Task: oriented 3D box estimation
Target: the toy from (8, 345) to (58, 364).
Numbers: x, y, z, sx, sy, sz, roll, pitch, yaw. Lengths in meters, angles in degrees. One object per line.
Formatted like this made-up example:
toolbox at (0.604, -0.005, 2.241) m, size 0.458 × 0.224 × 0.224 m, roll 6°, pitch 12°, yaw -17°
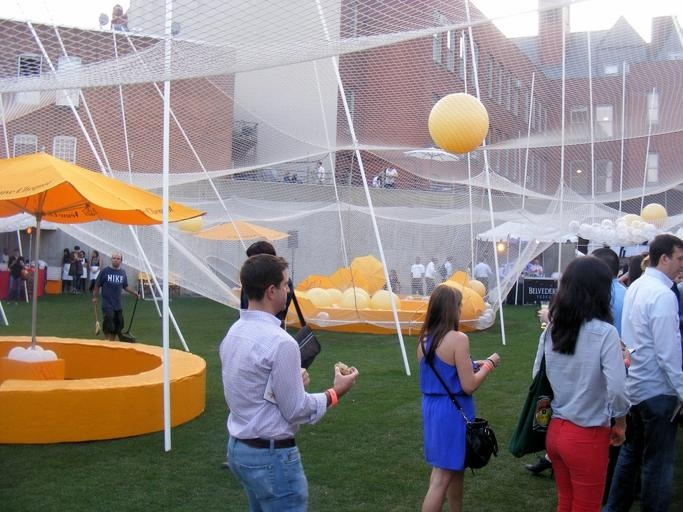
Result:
toy at (-3.807, 1.227, 7.190) m, size 0.336 × 0.142 × 0.367 m, roll 3°, pitch -8°, yaw 35°

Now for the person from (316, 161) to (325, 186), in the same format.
person at (-0.668, -2.689, 18.988) m, size 0.233 × 0.703 × 0.667 m, roll 0°, pitch 3°, yaw 9°

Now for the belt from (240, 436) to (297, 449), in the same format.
belt at (-0.396, 0.972, 3.044) m, size 0.299 × 0.064 × 0.081 m, roll 0°, pitch 3°, yaw -4°

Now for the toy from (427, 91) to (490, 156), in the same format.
toy at (1.614, -1.858, 8.032) m, size 0.785 × 0.826 × 0.415 m, roll 0°, pitch 3°, yaw 8°

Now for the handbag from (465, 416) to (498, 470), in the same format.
handbag at (0.960, 1.296, 4.077) m, size 0.308 × 0.363 × 0.309 m, roll 0°, pitch -1°, yaw 12°

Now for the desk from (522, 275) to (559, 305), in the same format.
desk at (6.421, 1.127, 18.930) m, size 1.292 × 0.898 × 0.696 m, roll -1°, pitch -3°, yaw 4°

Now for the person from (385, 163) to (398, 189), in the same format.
person at (1.699, -2.645, 19.759) m, size 0.377 × 0.699 × 0.841 m, roll 1°, pitch 3°, yaw 18°

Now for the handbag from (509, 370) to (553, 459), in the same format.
handbag at (1.237, 1.016, 3.785) m, size 0.256 × 0.608 × 0.213 m, roll 1°, pitch 3°, yaw 17°

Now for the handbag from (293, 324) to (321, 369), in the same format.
handbag at (-0.188, 0.545, 3.488) m, size 0.196 × 0.242 × 0.089 m, roll -21°, pitch -20°, yaw 28°

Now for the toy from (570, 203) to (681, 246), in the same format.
toy at (6.876, -0.685, 13.557) m, size 1.831 × 0.699 × 1.337 m, roll -6°, pitch -2°, yaw -7°
